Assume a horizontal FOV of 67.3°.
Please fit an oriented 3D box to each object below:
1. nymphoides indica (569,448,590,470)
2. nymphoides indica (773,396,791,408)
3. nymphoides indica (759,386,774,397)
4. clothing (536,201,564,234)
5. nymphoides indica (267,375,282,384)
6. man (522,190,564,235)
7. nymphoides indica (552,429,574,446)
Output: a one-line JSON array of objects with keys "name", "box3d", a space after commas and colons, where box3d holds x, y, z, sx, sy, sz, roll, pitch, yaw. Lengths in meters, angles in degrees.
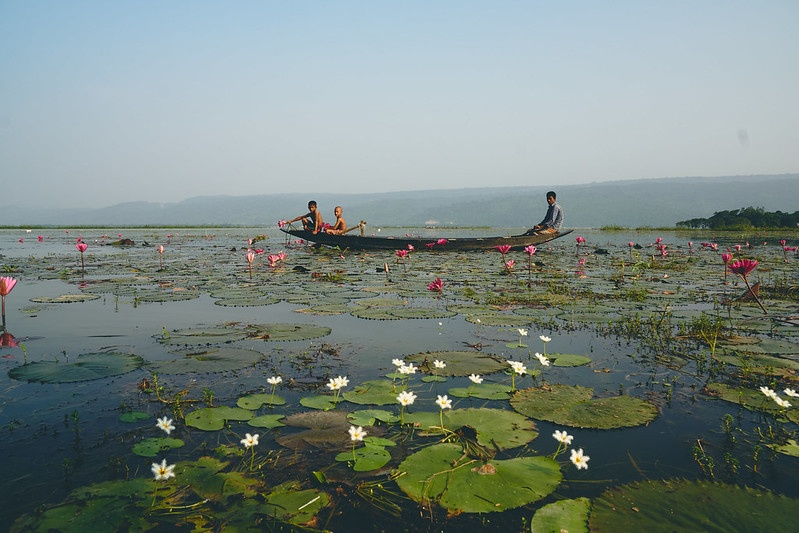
[{"name": "nymphoides indica", "box3d": [1.593, 1.715, 5.299, 0.191, 0.057, 0.181, 31, 43, 7]}, {"name": "nymphoides indica", "box3d": [3.785, 1.348, 5.929, 0.157, 0.030, 0.152, 17, 14, 30]}, {"name": "nymphoides indica", "box3d": [3.715, 1.268, 6.053, 0.111, 0.108, 0.102, 16, 38, 13]}, {"name": "clothing", "box3d": [5.258, -1.874, 21.173, 0.692, 1.360, 1.444, 6, 13, 27]}, {"name": "nymphoides indica", "box3d": [-1.308, 1.188, 6.258, 0.191, 0.073, 0.175, 0, -3, 6]}, {"name": "man", "box3d": [5.094, -2.062, 21.499, 1.508, 1.263, 0.841, 0, 12, 8]}, {"name": "nymphoides indica", "box3d": [1.456, 1.567, 5.461, 0.214, 0.062, 0.205, 10, 5, 26]}]
